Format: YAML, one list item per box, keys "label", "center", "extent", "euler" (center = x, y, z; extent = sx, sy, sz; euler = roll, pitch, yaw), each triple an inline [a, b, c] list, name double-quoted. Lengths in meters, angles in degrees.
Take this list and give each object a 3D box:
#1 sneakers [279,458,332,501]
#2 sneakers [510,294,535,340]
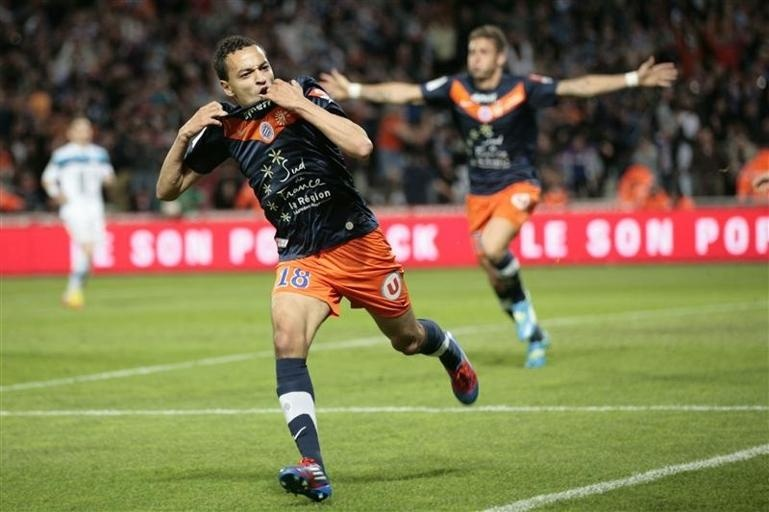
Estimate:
- label: "sneakers"
  center: [-0.549, 1.485, 6.560]
  extent: [0.214, 0.263, 0.473]
  euler: [-15, -33, 25]
- label: "sneakers"
  center: [1.208, 0.559, 8.851]
  extent: [0.193, 0.359, 0.141]
  euler: [-11, -24, 10]
